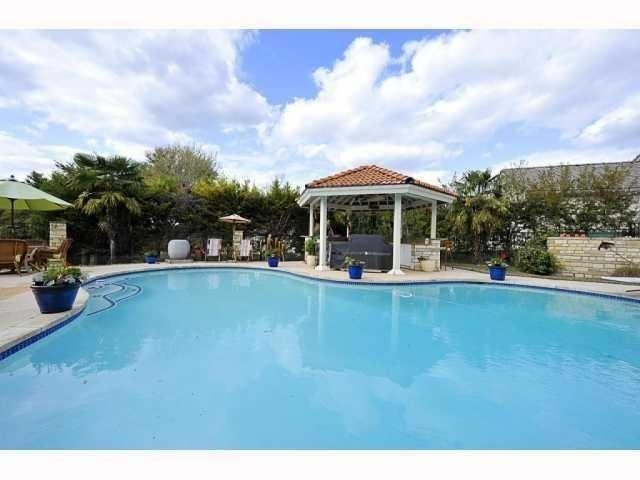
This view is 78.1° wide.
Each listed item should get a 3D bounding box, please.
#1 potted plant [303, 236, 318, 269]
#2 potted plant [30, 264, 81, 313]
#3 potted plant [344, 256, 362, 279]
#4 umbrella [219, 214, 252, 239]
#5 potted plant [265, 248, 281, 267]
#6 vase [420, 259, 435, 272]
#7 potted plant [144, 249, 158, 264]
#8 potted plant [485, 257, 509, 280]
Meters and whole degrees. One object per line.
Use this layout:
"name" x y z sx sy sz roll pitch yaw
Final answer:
"potted plant" -0.343 0.540 15.680 0.393 1.182 0.903 -2 14 -11
"potted plant" -5.166 0.970 7.590 0.833 0.922 0.889 -1 -9 14
"potted plant" 0.993 0.886 11.723 0.502 0.592 0.596 -4 15 -20
"umbrella" -3.783 -0.694 17.605 1.211 1.391 1.271 0 -2 -2
"potted plant" -1.848 0.759 15.491 0.567 0.812 0.589 1 -7 -7
"vase" 3.883 0.936 14.123 0.630 0.433 0.295 3 14 10
"potted plant" -6.859 0.725 15.953 0.515 0.559 0.531 -6 -6 40
"potted plant" 5.659 0.990 12.432 0.726 0.796 0.636 -2 -5 35
